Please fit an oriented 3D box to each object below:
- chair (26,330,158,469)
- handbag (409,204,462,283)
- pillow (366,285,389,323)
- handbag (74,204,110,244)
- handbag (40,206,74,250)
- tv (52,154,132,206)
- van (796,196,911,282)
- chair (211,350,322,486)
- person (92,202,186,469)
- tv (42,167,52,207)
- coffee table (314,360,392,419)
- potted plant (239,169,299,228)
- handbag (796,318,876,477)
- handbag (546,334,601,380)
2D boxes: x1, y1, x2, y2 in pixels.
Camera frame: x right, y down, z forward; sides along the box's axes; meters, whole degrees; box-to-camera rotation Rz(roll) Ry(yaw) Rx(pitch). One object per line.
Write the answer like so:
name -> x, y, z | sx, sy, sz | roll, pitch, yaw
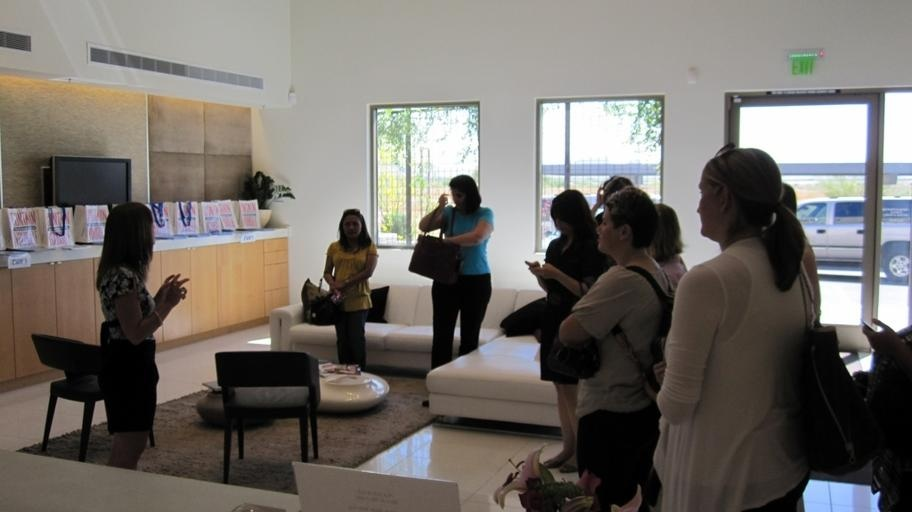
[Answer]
chair -> -3.553, 1.356, 5.986 | 0.976, 1.086, 0.945 | -2, 2, -45
handbag -> -0.235, 0.046, 6.561 | 0.574, 0.531, 0.202 | 6, 12, 31
pillow -> -1.141, 0.753, 9.002 | 0.217, 0.547, 0.621 | 9, -14, -35
handbag -> -5.013, -0.466, 8.357 | 0.210, 0.487, 0.539 | 4, 5, -2
handbag -> -5.169, -0.364, 7.871 | 0.367, 0.524, 0.271 | -7, 13, -36
tv -> -5.181, -1.053, 8.765 | 1.331, 0.690, 0.126 | 2, 3, 14
van -> 5.735, -0.360, 9.256 | 1.924, 0.886, 0.944 | 2, 5, 15
chair -> -1.751, 1.498, 5.826 | 0.904, 1.123, 0.877 | -2, -6, -2
person -> -2.343, 0.614, 4.530 | 0.599, 1.996, 0.525 | -4, 11, -23
tv -> -5.637, -0.970, 8.383 | 0.137, 0.523, 0.152 | -6, 12, -32
coffee table -> -1.278, 1.541, 7.031 | 1.057, 0.282, 1.012 | 3, 6, 16
potted plant -> -3.369, -0.979, 11.218 | 1.316, 1.190, 0.957 | 1, 1, 3
handbag -> 1.882, 0.729, 2.979 | 0.348, 0.720, 0.171 | 7, 12, 32
handbag -> 0.685, 0.629, 3.796 | 0.301, 0.277, 0.307 | 13, 2, -14
